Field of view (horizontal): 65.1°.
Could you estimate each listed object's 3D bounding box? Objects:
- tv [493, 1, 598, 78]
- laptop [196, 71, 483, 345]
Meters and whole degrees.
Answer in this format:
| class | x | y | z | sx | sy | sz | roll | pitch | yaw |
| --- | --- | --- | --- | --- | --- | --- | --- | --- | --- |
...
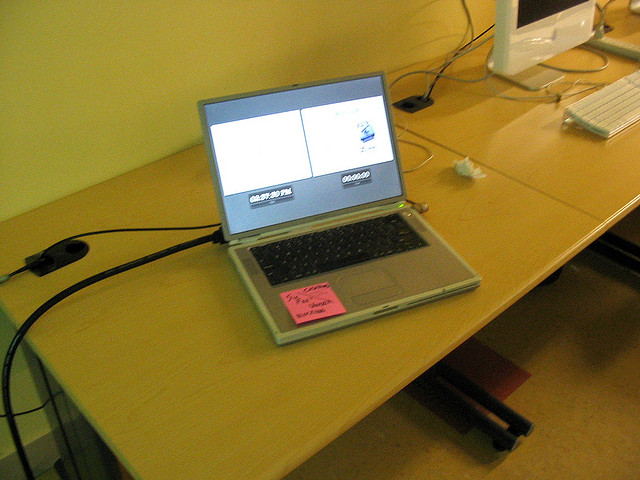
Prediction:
| class | x | y | z | sx | sy | sz | roll | pitch | yaw |
| --- | --- | --- | --- | --- | --- | --- | --- | --- | --- |
| tv | 0.733 | -0.658 | 1.648 | 0.376 | 0.037 | 0.250 | -17 | -43 | -17 |
| laptop | -0.017 | -0.049 | 1.306 | 0.613 | 0.632 | 0.410 | -19 | -37 | -16 |
